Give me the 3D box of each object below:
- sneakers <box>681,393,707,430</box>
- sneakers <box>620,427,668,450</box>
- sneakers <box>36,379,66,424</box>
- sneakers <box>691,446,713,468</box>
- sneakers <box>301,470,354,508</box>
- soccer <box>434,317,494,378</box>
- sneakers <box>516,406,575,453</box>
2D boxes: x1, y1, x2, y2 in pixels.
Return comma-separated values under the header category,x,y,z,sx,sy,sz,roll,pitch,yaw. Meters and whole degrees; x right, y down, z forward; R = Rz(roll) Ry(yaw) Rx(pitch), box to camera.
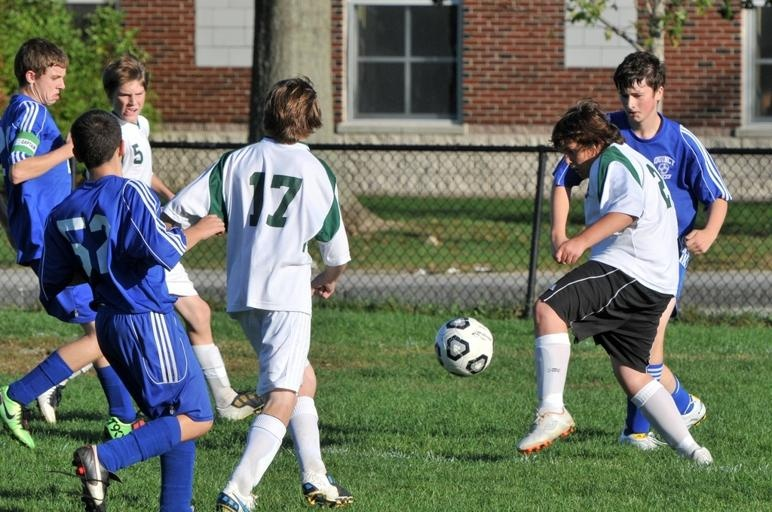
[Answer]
category,x,y,z,sx,sy,sz,roll,pitch,yaw
sneakers,2.834,1.460,11.424,0.147,0.197,0.396,-39,2,32
sneakers,2.362,1.695,11.383,0.405,0.199,0.165,4,2,0
sneakers,-3.183,1.389,11.664,0.172,0.440,0.151,22,0,-7
sneakers,2.766,1.780,10.846,0.129,0.072,0.185,-3,29,-17
sneakers,-0.485,1.987,10.370,0.467,0.235,0.200,16,8,-36
soccer,0.716,0.869,11.568,0.514,0.595,0.508,3,-6,0
sneakers,1.418,1.577,10.993,0.436,0.202,0.161,-43,27,-4
